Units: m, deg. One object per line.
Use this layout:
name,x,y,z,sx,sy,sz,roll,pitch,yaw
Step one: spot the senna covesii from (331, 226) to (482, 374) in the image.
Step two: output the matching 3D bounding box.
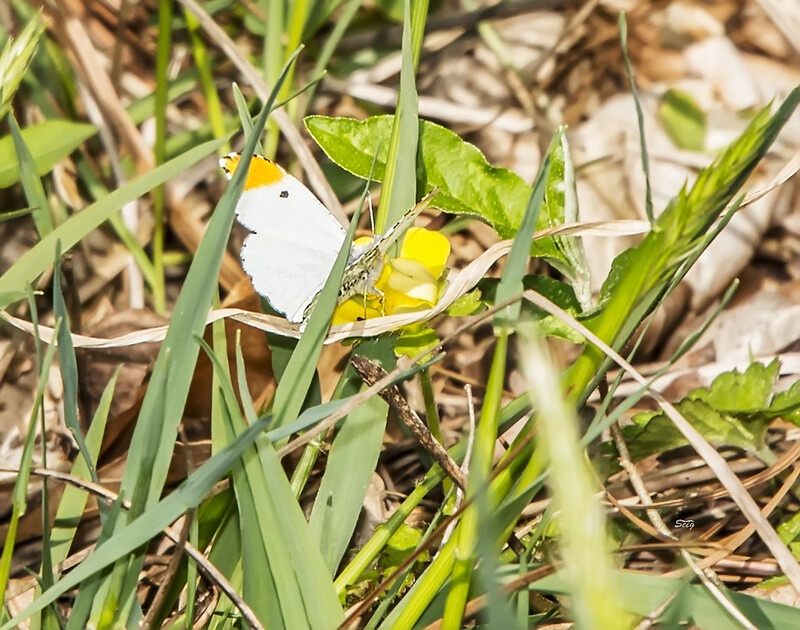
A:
senna covesii,0.016,-0.049,1.587,0.248,0.132,0.321,11,49,4

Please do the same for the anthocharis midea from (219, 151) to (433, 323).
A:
anthocharis midea,-0.136,-0.138,1.634,0.390,0.289,0.281,1,13,43
